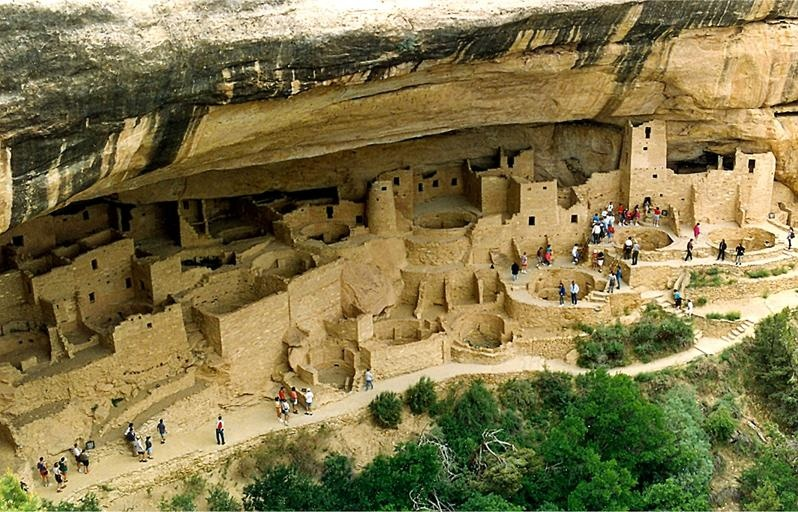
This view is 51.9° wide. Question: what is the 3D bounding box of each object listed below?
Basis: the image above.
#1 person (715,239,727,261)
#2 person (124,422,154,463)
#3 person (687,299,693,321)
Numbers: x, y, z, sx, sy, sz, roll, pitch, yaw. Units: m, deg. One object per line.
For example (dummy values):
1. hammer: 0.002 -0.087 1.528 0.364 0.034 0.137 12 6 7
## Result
1. person: 11.559 -0.298 29.192 0.277 0.674 0.842 7 27 21
2. person: -7.562 5.321 23.578 0.718 0.804 1.016 -13 27 -19
3. person: 10.020 1.829 28.172 0.215 0.662 0.282 4 -6 -9
